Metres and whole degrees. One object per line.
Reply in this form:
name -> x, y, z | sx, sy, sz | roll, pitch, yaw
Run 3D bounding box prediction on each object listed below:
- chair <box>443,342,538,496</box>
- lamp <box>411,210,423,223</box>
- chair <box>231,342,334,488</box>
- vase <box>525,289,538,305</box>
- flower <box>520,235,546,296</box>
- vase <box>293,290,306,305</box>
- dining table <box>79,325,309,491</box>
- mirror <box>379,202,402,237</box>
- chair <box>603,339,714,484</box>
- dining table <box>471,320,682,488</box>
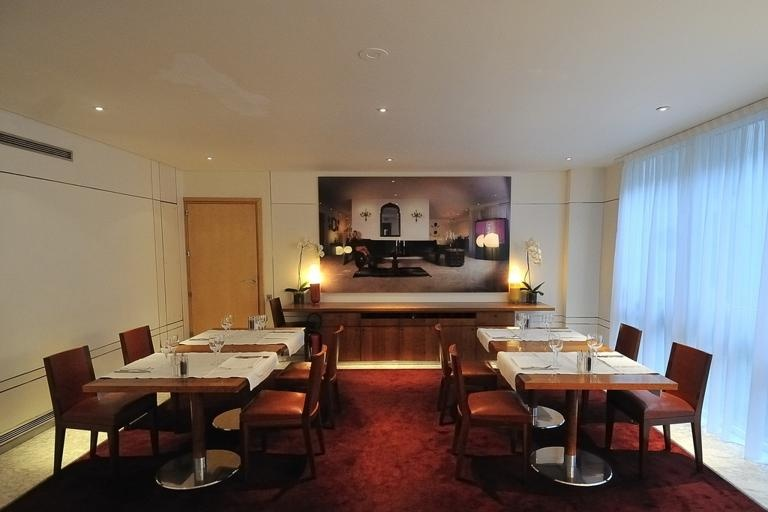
chair -> 1.119, 1.680, 5.411 | 0.865, 1.204, 0.751 | 2, 1, 4
lamp -> 0.542, -0.673, 8.261 | 0.174, 0.178, 0.170 | 0, 2, -2
chair -> -1.100, 1.701, 5.460 | 0.822, 1.091, 0.809 | -4, -3, -2
vase -> 2.404, 0.675, 8.086 | 0.252, 0.224, 0.150 | 0, 1, -5
flower -> 2.444, 0.218, 8.198 | 0.323, 0.983, 0.343 | 2, 5, 30
vase -> -1.388, 0.688, 8.067 | 0.208, 0.193, 0.201 | 0, -1, -10
dining table -> -2.002, 1.446, 5.213 | 1.438, 0.979, 1.823 | 1, 2, 5
mirror -> 0.099, -0.598, 8.250 | 0.336, 0.549, 0.057 | 0, 5, 4
chair -> 2.945, 1.610, 5.338 | 0.854, 1.157, 0.781 | 0, 3, 5
dining table -> 1.939, 1.725, 5.159 | 1.704, 0.934, 1.450 | -1, -1, 8
